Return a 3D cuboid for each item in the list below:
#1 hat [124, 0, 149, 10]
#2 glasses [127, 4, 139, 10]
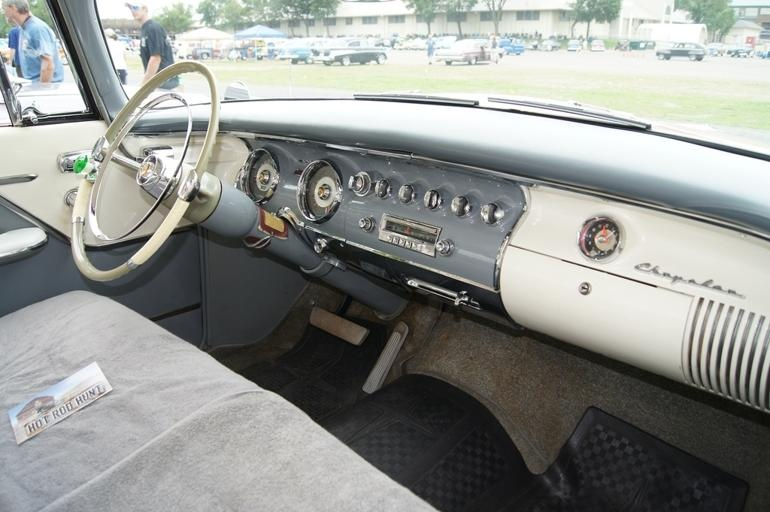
[{"bbox_3d":[-1.342,-1.344,2.686,0.104,0.043,0.031,-10,33,-18],"label":"hat"},{"bbox_3d":[-1.364,-1.335,2.684,0.035,0.035,0.011,-10,-8,6],"label":"glasses"}]
